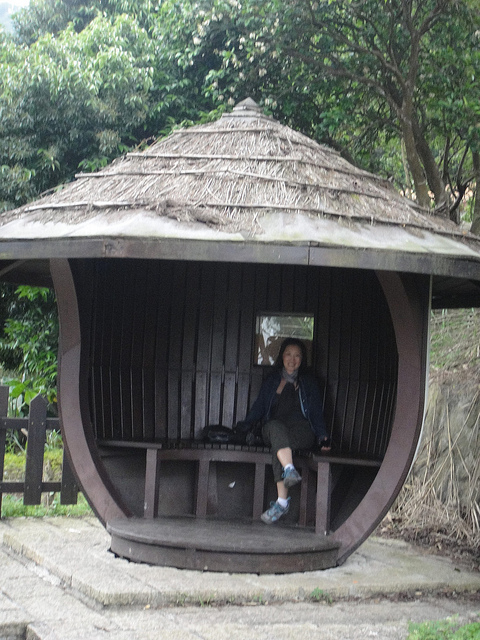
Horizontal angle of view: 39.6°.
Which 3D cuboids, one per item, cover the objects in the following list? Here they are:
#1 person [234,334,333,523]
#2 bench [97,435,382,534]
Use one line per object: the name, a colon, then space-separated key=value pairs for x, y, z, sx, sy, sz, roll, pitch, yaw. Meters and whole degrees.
person: x=0.379 y=0.716 z=5.312 sx=0.505 sy=1.087 sz=1.417 roll=2 pitch=11 yaw=7
bench: x=-0.109 y=1.310 z=5.410 sx=2.045 sy=0.688 sz=1.094 roll=1 pitch=-4 yaw=10
